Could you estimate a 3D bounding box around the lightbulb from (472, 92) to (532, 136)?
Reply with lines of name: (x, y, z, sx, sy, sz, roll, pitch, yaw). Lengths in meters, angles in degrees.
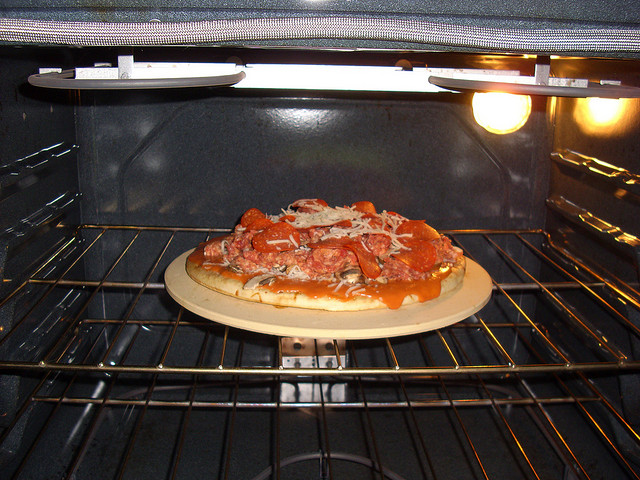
lightbulb: (0.494, -0.359, 1.364, 0.153, 0.120, 0.137, 9, -59, -7)

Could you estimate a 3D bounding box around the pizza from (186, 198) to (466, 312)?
pizza: (0.023, -0.006, 1.247, 0.683, 0.586, 0.137, 0, -71, 0)
